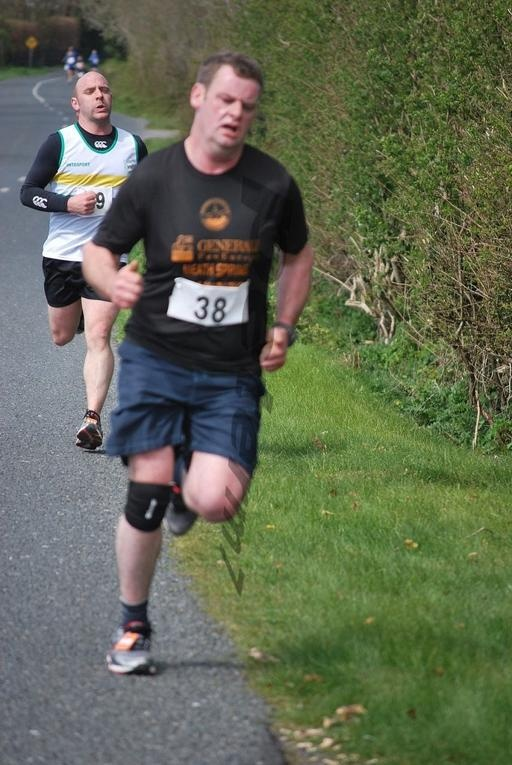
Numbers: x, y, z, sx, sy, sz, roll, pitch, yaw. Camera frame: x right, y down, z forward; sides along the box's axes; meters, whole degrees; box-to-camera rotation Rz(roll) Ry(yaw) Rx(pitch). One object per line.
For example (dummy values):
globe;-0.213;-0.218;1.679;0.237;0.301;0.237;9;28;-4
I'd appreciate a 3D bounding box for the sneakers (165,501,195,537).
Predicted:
sneakers;-0.261;0.471;2.875;0.076;0.139;0.153;4;5;-12

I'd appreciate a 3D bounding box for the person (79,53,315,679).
person;-0.163;-0.031;2.563;0.717;1.915;0.416;-2;11;-11

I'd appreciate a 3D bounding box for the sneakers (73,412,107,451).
sneakers;-0.996;0.304;4.971;0.123;0.282;0.138;4;52;-5

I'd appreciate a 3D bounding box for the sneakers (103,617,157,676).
sneakers;-0.411;0.859;2.644;0.157;0.094;0.238;1;16;-2
